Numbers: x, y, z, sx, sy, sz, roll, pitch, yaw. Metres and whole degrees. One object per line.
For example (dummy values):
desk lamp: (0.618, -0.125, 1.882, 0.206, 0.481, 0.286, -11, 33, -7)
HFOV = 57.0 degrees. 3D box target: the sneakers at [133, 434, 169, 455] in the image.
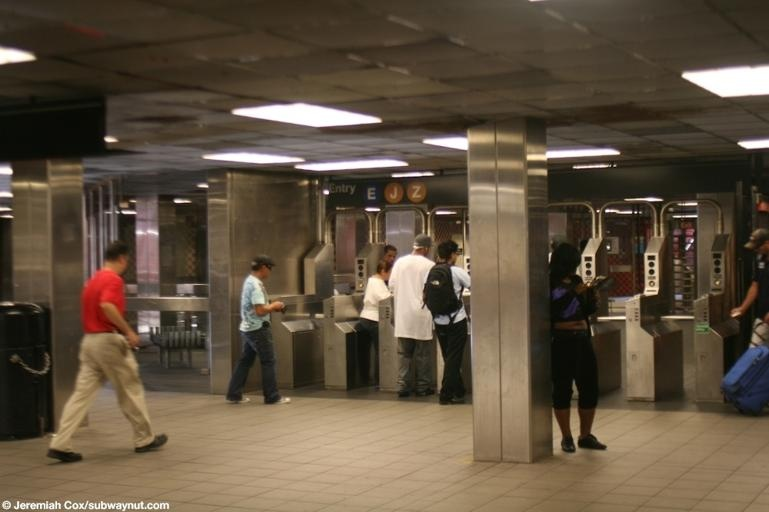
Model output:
sneakers: (-2.767, 2.242, 8.475, 0.157, 0.175, 0.441, 6, 8, 32)

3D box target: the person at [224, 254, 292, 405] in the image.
person: (-1.970, 1.163, 11.100, 0.625, 2.042, 0.958, -2, 1, -41)

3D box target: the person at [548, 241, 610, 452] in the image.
person: (2.204, 1.037, 8.123, 0.575, 1.601, 0.460, -2, 1, 15)

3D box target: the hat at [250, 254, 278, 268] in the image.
hat: (-1.852, 0.087, 11.079, 0.398, 0.188, 0.263, -8, 9, -25)

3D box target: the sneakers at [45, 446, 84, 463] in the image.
sneakers: (-3.621, 2.262, 8.100, 0.454, 0.186, 0.158, 9, 1, -27)

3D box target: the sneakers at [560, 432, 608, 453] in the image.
sneakers: (2.262, 2.140, 8.107, 0.578, 0.192, 0.196, 0, 0, 1)

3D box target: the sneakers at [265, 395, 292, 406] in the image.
sneakers: (-1.679, 2.264, 11.136, 0.389, 0.138, 0.148, -3, 3, -27)

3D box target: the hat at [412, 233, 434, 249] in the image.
hat: (0.610, -0.241, 11.112, 0.196, 0.144, 0.269, 9, 14, 26)

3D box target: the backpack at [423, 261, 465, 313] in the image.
backpack: (0.835, 0.505, 10.333, 0.561, 0.592, 0.276, -2, 1, 3)

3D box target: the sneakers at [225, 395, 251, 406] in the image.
sneakers: (-2.339, 2.310, 11.346, 0.334, 0.123, 0.139, 0, 0, -28)
